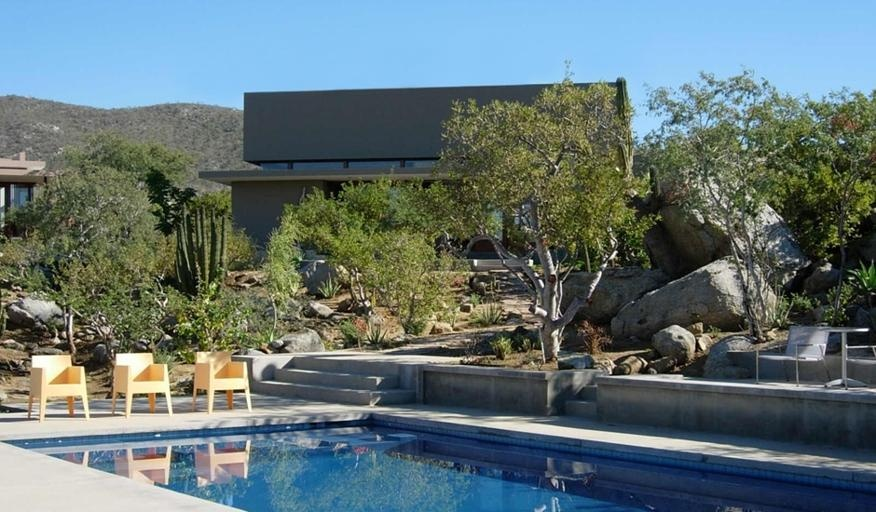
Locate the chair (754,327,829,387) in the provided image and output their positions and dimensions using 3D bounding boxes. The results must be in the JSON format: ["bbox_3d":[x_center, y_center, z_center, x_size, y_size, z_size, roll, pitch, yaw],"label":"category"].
[{"bbox_3d":[9.626,2.500,22.288,1.765,1.761,1.703,2,-4,-37],"label":"chair"}]

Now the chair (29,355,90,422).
[{"bbox_3d":[-10.937,3.650,23.406,1.752,2.391,1.767,3,-9,-34],"label":"chair"}]

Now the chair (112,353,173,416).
[{"bbox_3d":[-8.637,3.630,23.717,1.581,1.735,1.630,-4,-7,22],"label":"chair"}]

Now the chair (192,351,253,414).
[{"bbox_3d":[-6.478,3.640,24.277,1.625,1.733,1.757,-4,-8,20],"label":"chair"}]

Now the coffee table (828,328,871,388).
[{"bbox_3d":[10.843,2.660,21.822,0.773,1.573,1.458,-5,-7,37],"label":"coffee table"}]

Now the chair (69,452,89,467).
[{"bbox_3d":[-9.278,5.136,21.054,0.427,0.232,0.768,2,-7,-25],"label":"chair"}]
